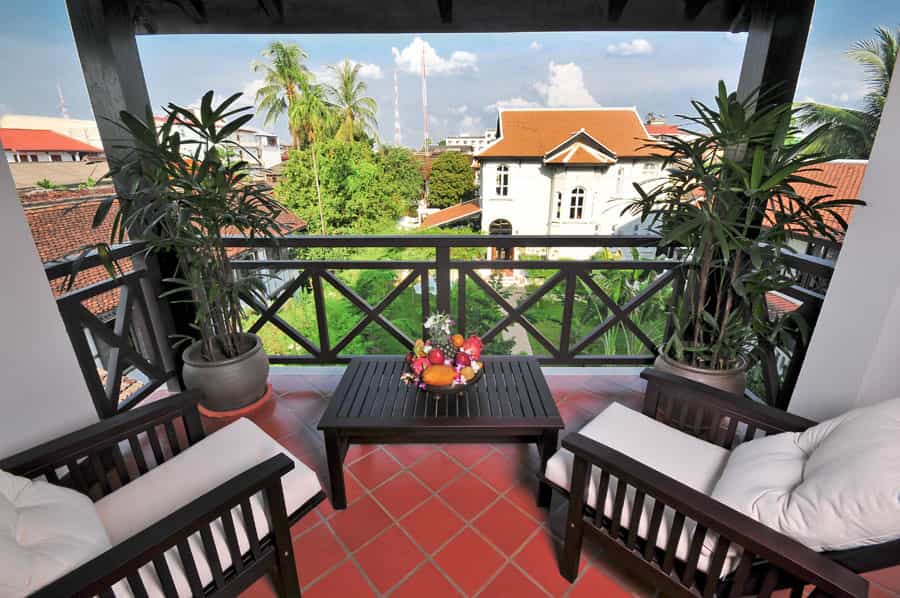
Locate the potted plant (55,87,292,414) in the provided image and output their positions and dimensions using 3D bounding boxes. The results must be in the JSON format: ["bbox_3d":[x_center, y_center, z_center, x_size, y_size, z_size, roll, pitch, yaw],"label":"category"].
[{"bbox_3d":[-1.675,-0.283,3.551,1.142,2.032,0.794,-9,22,-16],"label":"potted plant"}]

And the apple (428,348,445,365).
[{"bbox_3d":[-0.073,0.335,3.122,0.086,0.097,0.082,8,-8,-32],"label":"apple"}]

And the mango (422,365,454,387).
[{"bbox_3d":[-0.062,0.434,3.027,0.155,0.076,0.111,4,25,8],"label":"mango"}]

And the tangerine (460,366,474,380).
[{"bbox_3d":[0.102,0.422,3.108,0.069,0.066,0.068,-9,51,28],"label":"tangerine"}]

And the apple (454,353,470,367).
[{"bbox_3d":[0.075,0.352,3.108,0.074,0.088,0.073,3,32,10],"label":"apple"}]
